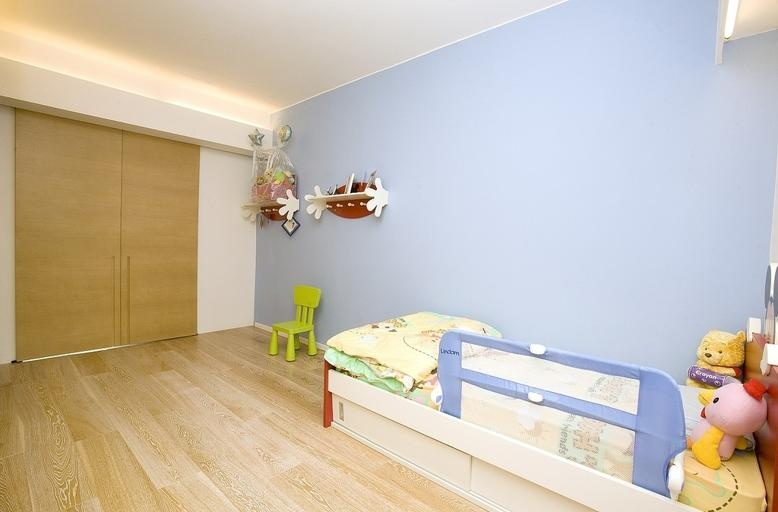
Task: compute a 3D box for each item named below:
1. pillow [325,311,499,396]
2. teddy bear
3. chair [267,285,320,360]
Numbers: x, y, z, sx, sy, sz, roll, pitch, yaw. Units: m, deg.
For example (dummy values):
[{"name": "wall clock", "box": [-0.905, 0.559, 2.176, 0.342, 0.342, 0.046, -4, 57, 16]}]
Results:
[{"name": "pillow", "box": [0.175, 0.714, 3.805, 0.785, 0.193, 0.824, 10, 18, 42]}, {"name": "teddy bear", "box": [2.015, 0.978, 2.795, 0.352, 0.557, 0.211, 7, 7, 23]}, {"name": "chair", "box": [-1.061, 0.714, 5.151, 0.453, 0.698, 0.442, -5, 8, -42]}]
